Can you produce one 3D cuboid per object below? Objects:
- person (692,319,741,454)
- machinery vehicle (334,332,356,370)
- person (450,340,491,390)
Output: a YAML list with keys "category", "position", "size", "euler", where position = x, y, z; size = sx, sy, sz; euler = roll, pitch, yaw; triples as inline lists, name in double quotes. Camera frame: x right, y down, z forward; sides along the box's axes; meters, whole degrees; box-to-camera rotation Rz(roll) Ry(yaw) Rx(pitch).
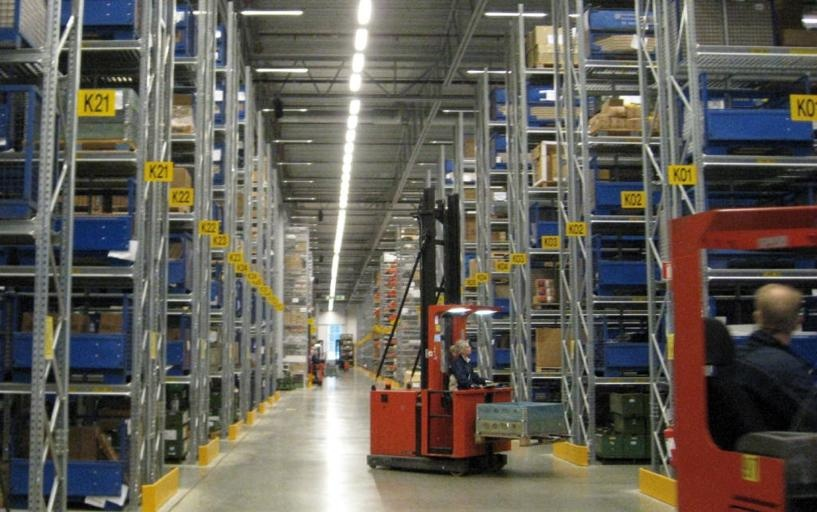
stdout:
- category: "person"
  position: [3.690, 1.501, 15.234]
  size: [0.405, 1.539, 0.261]
  euler: [-5, -11, 12]
- category: "machinery vehicle"
  position: [-3.874, 5.535, 74.986]
  size: [1.278, 1.884, 1.190]
  euler: [3, 1, -41]
- category: "person"
  position: [1.060, 1.988, 23.080]
  size: [0.945, 0.868, 0.698]
  euler: [-1, -10, 4]
